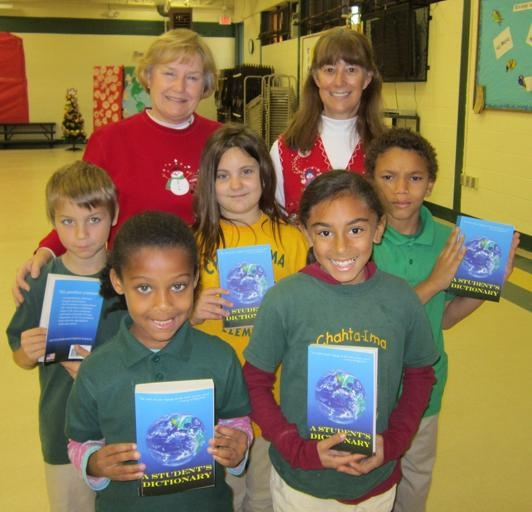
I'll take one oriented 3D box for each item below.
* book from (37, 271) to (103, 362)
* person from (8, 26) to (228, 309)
[{"bbox_3d":[-0.551,0.180,1.468,0.218,0.321,0.035,7,1,-14],"label":"book"},{"bbox_3d":[-0.389,-0.367,2.092,1.118,1.050,0.328,2,24,-17],"label":"person"}]
